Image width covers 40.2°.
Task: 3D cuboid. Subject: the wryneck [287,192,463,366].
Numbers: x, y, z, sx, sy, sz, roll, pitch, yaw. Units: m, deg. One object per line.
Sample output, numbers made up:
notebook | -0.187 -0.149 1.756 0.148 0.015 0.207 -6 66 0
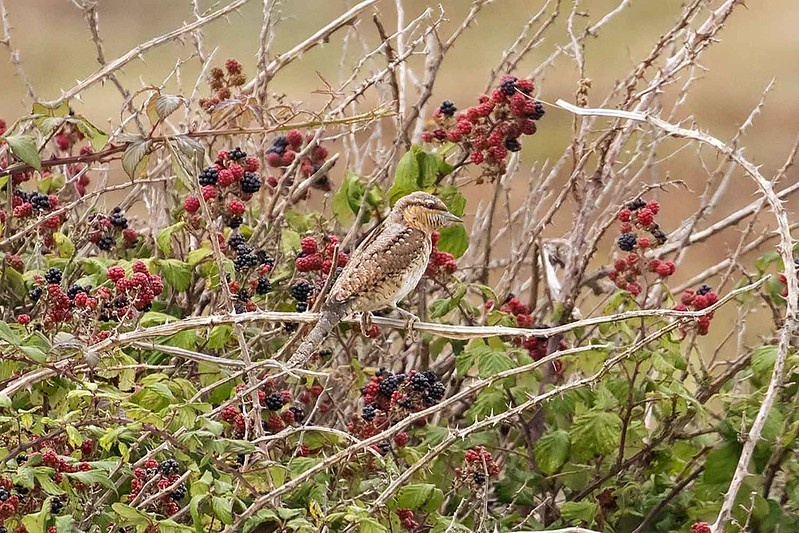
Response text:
wryneck | -0.178 0.043 5.932 1.154 0.766 0.353 -14 7 -32
